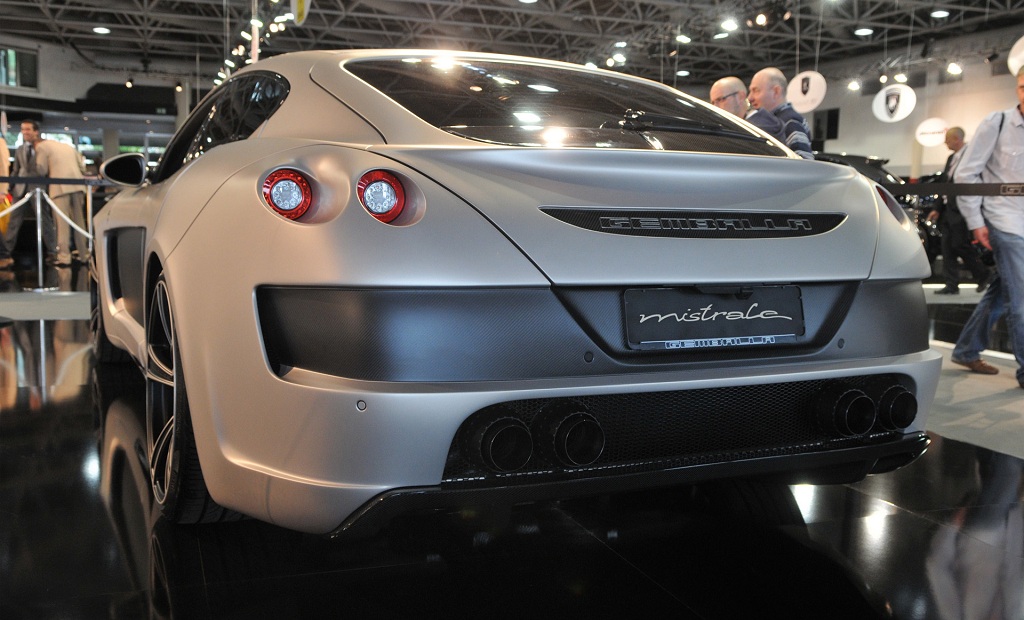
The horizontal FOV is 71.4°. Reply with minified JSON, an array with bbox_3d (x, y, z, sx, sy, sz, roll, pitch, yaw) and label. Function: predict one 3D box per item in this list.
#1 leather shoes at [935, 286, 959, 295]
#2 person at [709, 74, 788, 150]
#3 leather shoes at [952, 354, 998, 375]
[{"bbox_3d":[5.959,-0.275,9.802,0.109,0.140,0.318,-4,7,-29],"label":"leather shoes"},{"bbox_3d":[1.965,-1.810,5.840,0.570,0.343,0.991,-9,21,24],"label":"person"},{"bbox_3d":[3.375,0.395,5.243,0.351,0.153,0.124,2,0,26],"label":"leather shoes"}]
